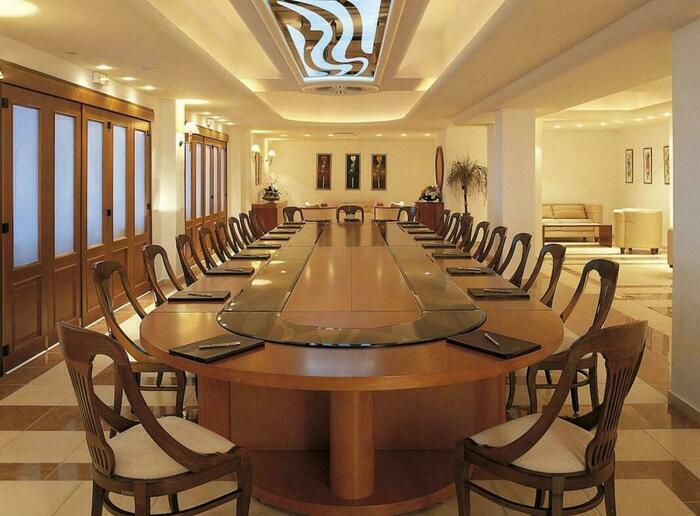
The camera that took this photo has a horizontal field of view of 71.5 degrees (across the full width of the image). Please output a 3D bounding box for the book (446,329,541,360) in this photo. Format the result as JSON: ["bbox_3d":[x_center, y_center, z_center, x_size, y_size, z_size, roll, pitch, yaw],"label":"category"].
[{"bbox_3d":[0.686,0.405,2.328,0.372,0.042,0.274,8,11,40],"label":"book"}]

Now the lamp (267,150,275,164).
[{"bbox_3d":[-2.672,-3.377,16.474,0.278,0.453,0.671,-1,8,-10],"label":"lamp"}]

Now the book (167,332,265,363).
[{"bbox_3d":[-0.619,0.423,2.293,0.317,0.043,0.341,8,11,39],"label":"book"}]

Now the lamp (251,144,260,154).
[{"bbox_3d":[-2.675,-3.088,13.811,0.279,0.272,0.287,-1,1,-2],"label":"lamp"}]

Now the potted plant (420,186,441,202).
[{"bbox_3d":[2.251,-1.774,13.721,0.352,0.394,0.512,0,0,-3],"label":"potted plant"}]

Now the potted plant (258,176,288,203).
[{"bbox_3d":[-2.366,-1.961,14.240,0.674,0.547,1.470,0,5,-4],"label":"potted plant"}]

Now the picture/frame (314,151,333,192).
[{"bbox_3d":[-0.922,-2.947,16.762,0.527,1.232,0.047,2,8,7],"label":"picture/frame"}]
